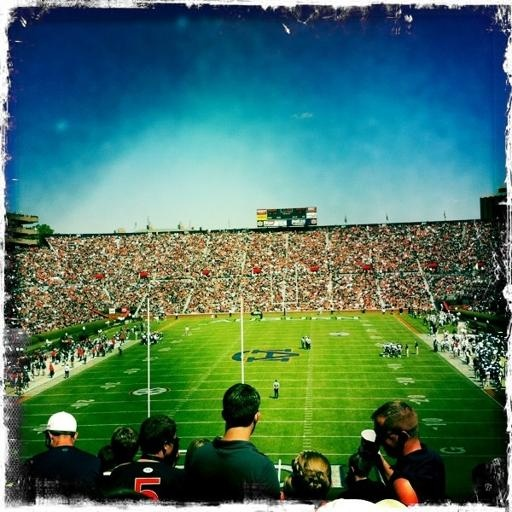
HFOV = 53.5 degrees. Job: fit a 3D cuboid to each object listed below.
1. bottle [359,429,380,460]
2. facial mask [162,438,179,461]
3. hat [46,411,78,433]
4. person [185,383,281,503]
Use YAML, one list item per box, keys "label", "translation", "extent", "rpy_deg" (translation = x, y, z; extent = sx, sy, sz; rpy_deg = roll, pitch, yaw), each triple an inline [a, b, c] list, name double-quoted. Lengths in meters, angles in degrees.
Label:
- label: "bottle"
  translation: [0.823, 1.391, 3.719]
  extent: [0.190, 0.168, 0.184]
  rpy_deg: [2, 22, 5]
- label: "facial mask"
  translation: [-0.630, 1.481, 3.884]
  extent: [0.128, 0.160, 0.165]
  rpy_deg: [1, 8, -10]
- label: "hat"
  translation: [-1.544, 1.332, 4.024]
  extent: [0.192, 0.137, 0.245]
  rpy_deg: [5, -4, -31]
- label: "person"
  translation: [-0.145, 1.275, 3.479]
  extent: [0.635, 0.738, 0.277]
  rpy_deg: [-3, -10, 20]
